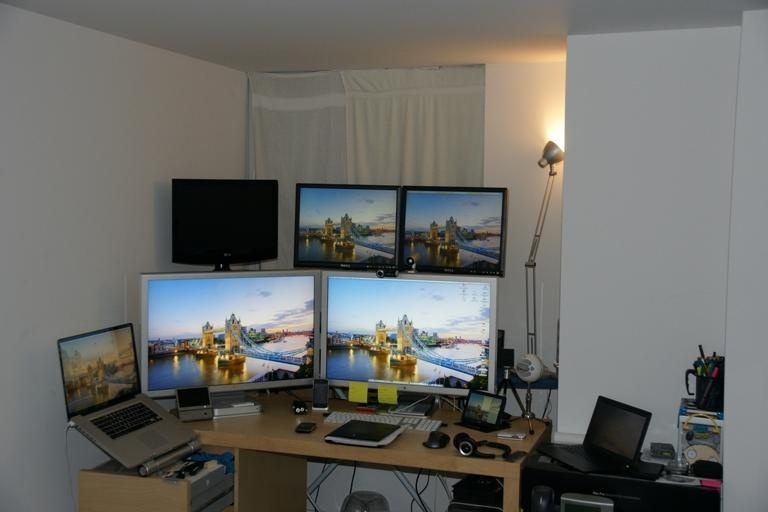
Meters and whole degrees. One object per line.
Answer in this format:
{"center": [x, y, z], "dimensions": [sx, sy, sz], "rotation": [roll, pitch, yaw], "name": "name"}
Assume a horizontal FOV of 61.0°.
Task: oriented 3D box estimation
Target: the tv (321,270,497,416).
{"center": [0.128, 0.448, 3.699], "dimensions": [0.985, 0.668, 0.016], "rotation": [0, 3, 15], "name": "tv"}

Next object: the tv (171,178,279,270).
{"center": [-0.971, -0.207, 3.926], "dimensions": [0.570, 0.482, 0.116], "rotation": [0, 1, -16], "name": "tv"}

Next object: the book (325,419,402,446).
{"center": [-0.096, 0.925, 3.412], "dimensions": [0.370, 0.045, 0.267], "rotation": [3, 10, 9], "name": "book"}

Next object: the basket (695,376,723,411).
{"center": [1.630, 0.691, 3.259], "dimensions": [0.122, 0.164, 0.046], "rotation": [4, 11, 15], "name": "basket"}

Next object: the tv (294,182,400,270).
{"center": [-0.230, -0.176, 3.943], "dimensions": [0.636, 0.507, 0.014], "rotation": [3, 5, 8], "name": "tv"}

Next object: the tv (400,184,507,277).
{"center": [0.422, -0.136, 3.840], "dimensions": [0.523, 0.430, 0.069], "rotation": [2, -2, 11], "name": "tv"}

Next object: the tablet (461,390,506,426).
{"center": [0.540, 0.834, 3.543], "dimensions": [0.222, 0.156, 0.173], "rotation": [8, -1, 33], "name": "tablet"}

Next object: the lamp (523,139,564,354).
{"center": [1.000, -0.049, 4.177], "dimensions": [0.183, 1.351, 0.250], "rotation": [4, 11, 14], "name": "lamp"}

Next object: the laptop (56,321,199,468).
{"center": [-1.396, 0.702, 3.463], "dimensions": [0.781, 0.556, 0.582], "rotation": [19, 21, 34], "name": "laptop"}

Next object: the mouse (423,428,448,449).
{"center": [0.265, 0.938, 3.335], "dimensions": [0.130, 0.059, 0.122], "rotation": [4, 10, 14], "name": "mouse"}

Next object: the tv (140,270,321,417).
{"center": [-0.894, 0.496, 3.675], "dimensions": [0.831, 0.548, 0.022], "rotation": [0, -3, -14], "name": "tv"}

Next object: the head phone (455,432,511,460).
{"center": [0.482, 0.959, 3.253], "dimensions": [0.172, 0.055, 0.150], "rotation": [9, 6, -7], "name": "head phone"}

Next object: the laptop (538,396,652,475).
{"center": [1.052, 0.902, 3.292], "dimensions": [0.447, 0.280, 0.442], "rotation": [4, -1, -33], "name": "laptop"}

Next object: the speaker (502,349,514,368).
{"center": [0.740, 0.606, 3.825], "dimensions": [0.087, 0.159, 0.087], "rotation": [0, 0, 12], "name": "speaker"}
